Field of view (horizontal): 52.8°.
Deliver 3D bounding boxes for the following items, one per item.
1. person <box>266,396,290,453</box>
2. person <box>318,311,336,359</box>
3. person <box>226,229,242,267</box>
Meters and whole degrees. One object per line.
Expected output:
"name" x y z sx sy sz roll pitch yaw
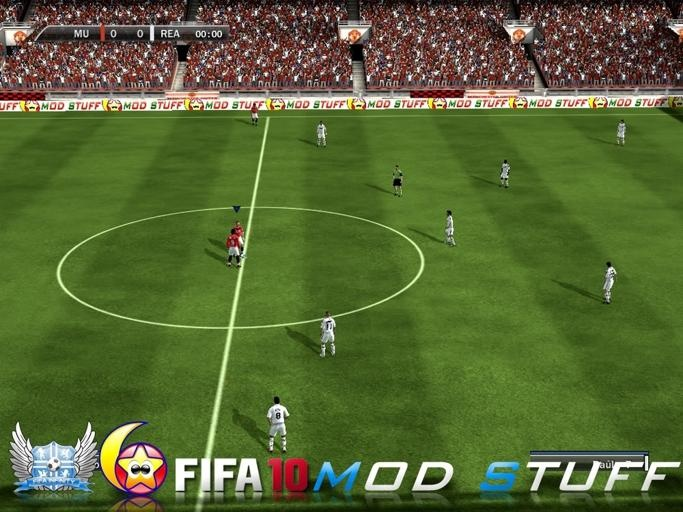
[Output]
"person" -2.131 5.473 22.969 0.652 1.915 1.194 0 23 -5
"person" -0.516 2.998 27.243 0.621 1.908 0.924 2 23 -2
"person" -5.311 -0.467 34.014 0.662 1.807 0.739 2 23 -2
